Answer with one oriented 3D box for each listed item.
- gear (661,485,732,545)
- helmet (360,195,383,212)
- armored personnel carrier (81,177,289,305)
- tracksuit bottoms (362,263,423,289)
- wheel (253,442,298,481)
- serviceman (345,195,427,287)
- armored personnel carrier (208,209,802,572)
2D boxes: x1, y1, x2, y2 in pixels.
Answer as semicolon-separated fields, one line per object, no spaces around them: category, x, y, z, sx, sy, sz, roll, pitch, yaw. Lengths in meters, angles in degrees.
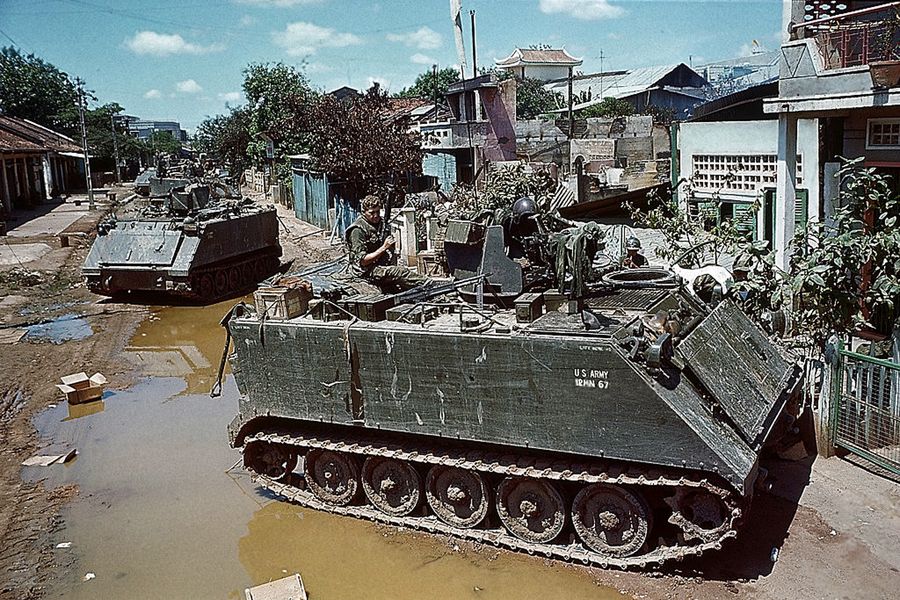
gear;2.853;2.453;7.765;0.653;0.768;0.163;2;10;33
helmet;-1.228;-1.483;10.501;0.270;0.288;0.225;-5;12;6
armored personnel carrier;-8.393;-2.013;22.076;3.398;3.538;6.306;2;13;8
tracksuit bottoms;-0.858;-0.335;10.684;0.714;0.250;0.412;11;3;-7
wheel;-2.708;2.351;10.006;0.630;0.724;0.247;-10;13;33
serviceman;-1.192;-0.794;10.597;0.814;1.920;0.502;2;5;28
armored personnel carrier;0.832;1.434;10.121;6.325;3.926;4.730;2;11;22
